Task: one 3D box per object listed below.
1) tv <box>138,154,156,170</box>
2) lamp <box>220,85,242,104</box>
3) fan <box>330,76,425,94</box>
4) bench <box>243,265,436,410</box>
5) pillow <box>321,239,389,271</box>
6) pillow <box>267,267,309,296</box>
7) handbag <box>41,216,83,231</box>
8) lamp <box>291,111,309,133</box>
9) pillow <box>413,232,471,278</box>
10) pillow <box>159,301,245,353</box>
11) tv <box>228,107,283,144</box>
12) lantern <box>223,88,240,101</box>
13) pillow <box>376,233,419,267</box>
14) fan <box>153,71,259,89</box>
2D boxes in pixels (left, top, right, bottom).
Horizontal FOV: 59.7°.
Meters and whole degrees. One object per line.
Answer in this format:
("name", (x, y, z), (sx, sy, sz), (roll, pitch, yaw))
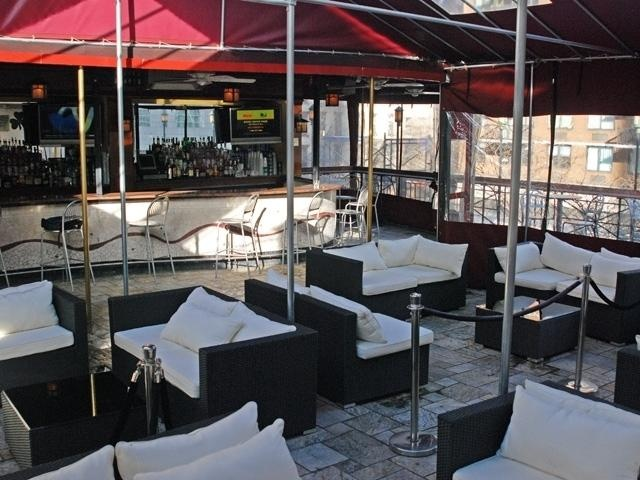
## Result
("tv", (-3.563, -1.595, 11.429), (0.369, 0.378, 0.038), (0, -20, -26))
("lamp", (-1.691, -2.715, 10.544), (0.391, 0.396, 0.400), (10, 17, 30))
("fan", (1.201, -3.553, 12.877), (2.013, 0.221, 3.501), (2, 13, 3))
("bench", (0.272, 0.455, 5.391), (1.001, 0.973, 1.931), (-9, 15, -36))
("pillow", (0.610, 0.250, 7.647), (0.654, 0.416, 0.187), (-13, -6, -30))
("pillow", (-0.293, 0.483, 5.793), (0.453, 0.136, 0.392), (24, -2, -22))
("handbag", (-4.008, -0.271, 8.578), (0.578, 0.250, 0.425), (7, 14, 26))
("lamp", (-0.420, -2.569, 12.255), (0.256, 0.432, 0.613), (0, 12, -4))
("pillow", (1.788, 0.239, 8.097), (0.654, 0.411, 0.211), (9, -14, 44))
("pillow", (-1.051, 0.787, 4.928), (0.847, 0.348, 0.287), (1, 11, 41))
("tv", (-1.424, -2.473, 11.998), (0.802, 0.562, 0.084), (-2, 5, -19))
("lantern", (-1.655, -2.731, 10.454), (0.262, 0.250, 0.264), (-5, 15, -22))
("pillow", (1.170, 0.166, 8.366), (0.480, 0.319, 0.131), (-11, -1, -20))
("fan", (-2.349, -3.146, 11.098), (1.997, 0.333, 1.183), (-3, 13, -20))
